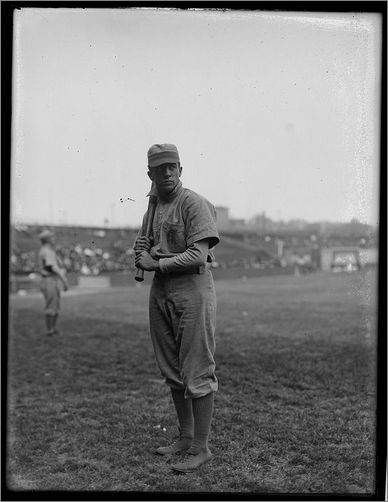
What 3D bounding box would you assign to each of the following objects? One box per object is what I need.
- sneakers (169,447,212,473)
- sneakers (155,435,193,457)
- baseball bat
[{"bbox_3d":[-0.010,1.315,6.347,0.284,0.122,0.100,-9,4,-44],"label":"sneakers"},{"bbox_3d":[-0.115,1.296,6.581,0.277,0.157,0.106,1,-6,-1],"label":"sneakers"},{"bbox_3d":[-0.299,-0.090,6.390,0.083,0.833,0.099,-4,-26,20],"label":"baseball bat"}]
